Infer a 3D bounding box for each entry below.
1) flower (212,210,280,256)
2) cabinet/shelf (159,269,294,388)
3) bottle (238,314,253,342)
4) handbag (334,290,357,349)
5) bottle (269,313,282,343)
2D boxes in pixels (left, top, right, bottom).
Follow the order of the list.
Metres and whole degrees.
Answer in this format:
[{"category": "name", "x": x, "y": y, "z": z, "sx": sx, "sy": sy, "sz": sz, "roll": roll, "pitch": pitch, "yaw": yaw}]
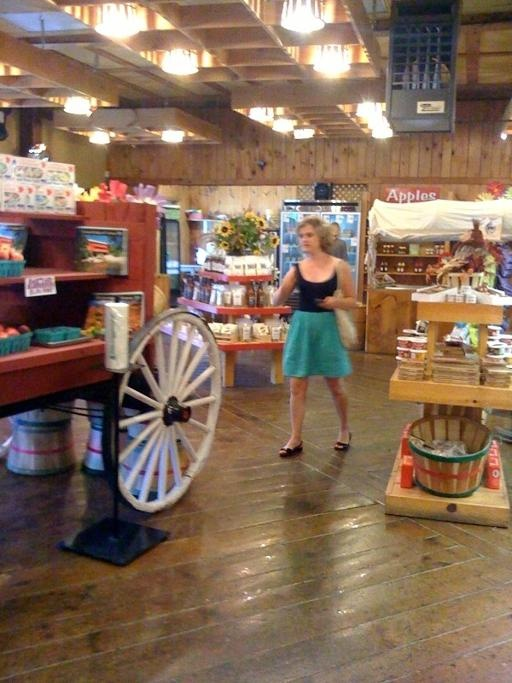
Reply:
[{"category": "flower", "x": -0.056, "y": -1.153, "z": 5.864, "sx": 0.648, "sy": 0.430, "sz": 0.547, "roll": 7, "pitch": 12, "yaw": 29}, {"category": "cabinet/shelf", "x": -0.348, "y": -0.325, "z": 6.141, "sx": 1.239, "sy": 1.353, "sz": 2.121, "roll": -4, "pitch": 11, "yaw": -17}, {"category": "bottle", "x": -0.114, "y": -0.131, "z": 5.745, "sx": 0.157, "sy": 0.260, "sz": 0.323, "roll": 2, "pitch": 3, "yaw": 1}, {"category": "handbag", "x": 0.600, "y": -0.080, "z": 3.494, "sx": 0.109, "sy": 0.252, "sz": 0.207, "roll": 5, "pitch": 4, "yaw": 35}, {"category": "bottle", "x": 0.204, "y": -0.135, "z": 5.752, "sx": 0.123, "sy": 0.354, "sz": 0.263, "roll": 2, "pitch": 15, "yaw": 17}]
